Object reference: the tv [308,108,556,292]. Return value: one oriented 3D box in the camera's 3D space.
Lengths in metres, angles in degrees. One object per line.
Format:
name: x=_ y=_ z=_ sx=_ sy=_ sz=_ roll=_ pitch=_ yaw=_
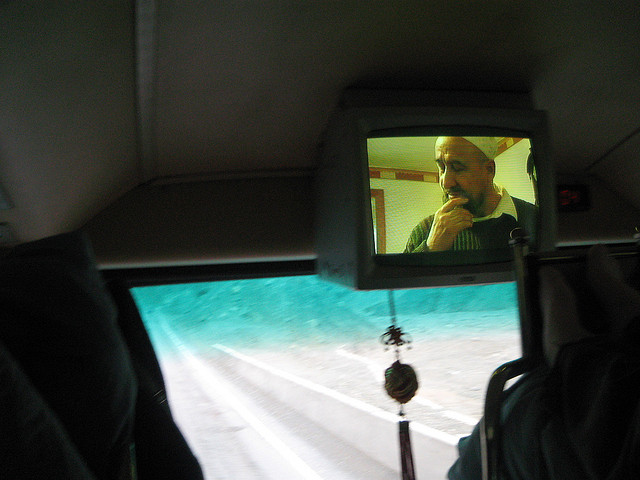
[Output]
tv: x=0.322 y=-0.140 z=1.788 sx=0.926 sy=0.608 sz=0.611 roll=-5 pitch=4 yaw=-25
